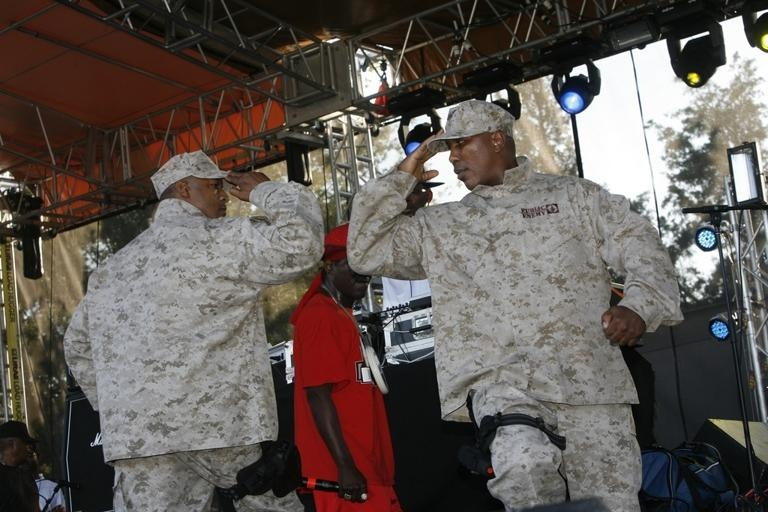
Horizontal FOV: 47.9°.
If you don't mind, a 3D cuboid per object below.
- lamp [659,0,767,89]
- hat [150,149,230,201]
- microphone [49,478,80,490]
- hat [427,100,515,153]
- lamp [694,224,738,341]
[{"bbox_3d":[4.381,-2.792,11.355,1.187,1.064,0.479,-23,5,26],"label":"lamp"},{"bbox_3d":[-1.517,-0.583,6.680,0.475,0.256,0.371,-25,5,-6],"label":"hat"},{"bbox_3d":[-3.245,2.334,8.795,0.163,0.048,0.133,0,-7,26],"label":"microphone"},{"bbox_3d":[0.627,-0.958,6.204,0.496,0.267,0.376,-1,-10,-3],"label":"hat"},{"bbox_3d":[4.514,0.392,11.681,0.517,0.526,1.748,4,38,7],"label":"lamp"}]
